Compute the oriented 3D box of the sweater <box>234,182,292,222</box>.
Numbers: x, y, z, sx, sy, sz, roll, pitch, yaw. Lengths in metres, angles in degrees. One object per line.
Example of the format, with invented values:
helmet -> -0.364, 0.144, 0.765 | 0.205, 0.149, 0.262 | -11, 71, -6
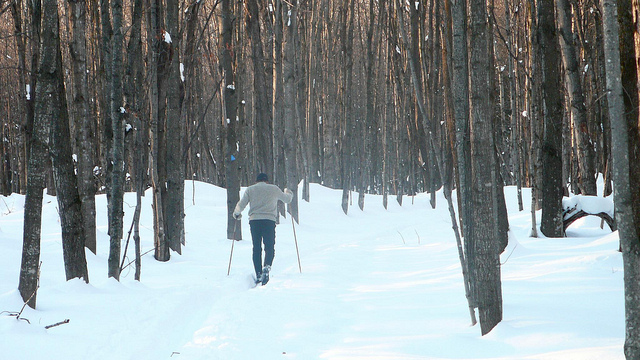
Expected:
sweater -> -1.862, 0.740, 30.943 | 1.417, 0.957, 0.439 | 1, -1, 3
